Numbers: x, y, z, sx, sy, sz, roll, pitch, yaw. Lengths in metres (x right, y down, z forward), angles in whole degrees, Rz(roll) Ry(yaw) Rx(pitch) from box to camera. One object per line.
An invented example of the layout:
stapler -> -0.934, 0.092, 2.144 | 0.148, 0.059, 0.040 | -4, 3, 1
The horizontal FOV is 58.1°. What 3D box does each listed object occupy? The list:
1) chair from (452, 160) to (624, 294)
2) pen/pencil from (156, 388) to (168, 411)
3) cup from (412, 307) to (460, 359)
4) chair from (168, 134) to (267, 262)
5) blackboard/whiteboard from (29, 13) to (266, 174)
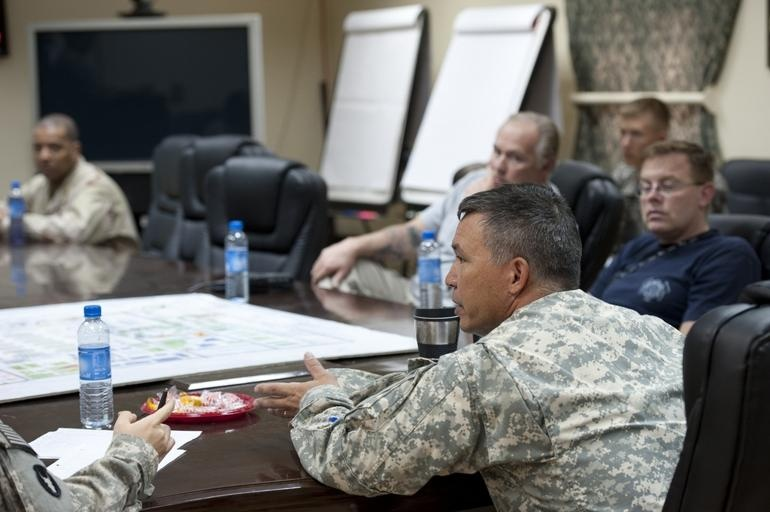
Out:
chair -> 0.501, -0.171, 2.556 | 0.461, 0.616, 0.440 | -7, 15, -23
pen/pencil -> -0.373, 0.242, 1.160 | 0.007, 0.011, 0.030 | 1, 47, 19
cup -> 0.095, 0.152, 1.372 | 0.087, 0.099, 0.093 | -8, -5, -1
chair -> -0.533, -0.188, 2.255 | 0.285, 0.434, 0.255 | 5, 12, 17
blackboard/whiteboard -> -0.441, -0.325, 1.294 | 0.411, 0.269, 0.149 | 4, 16, 5
